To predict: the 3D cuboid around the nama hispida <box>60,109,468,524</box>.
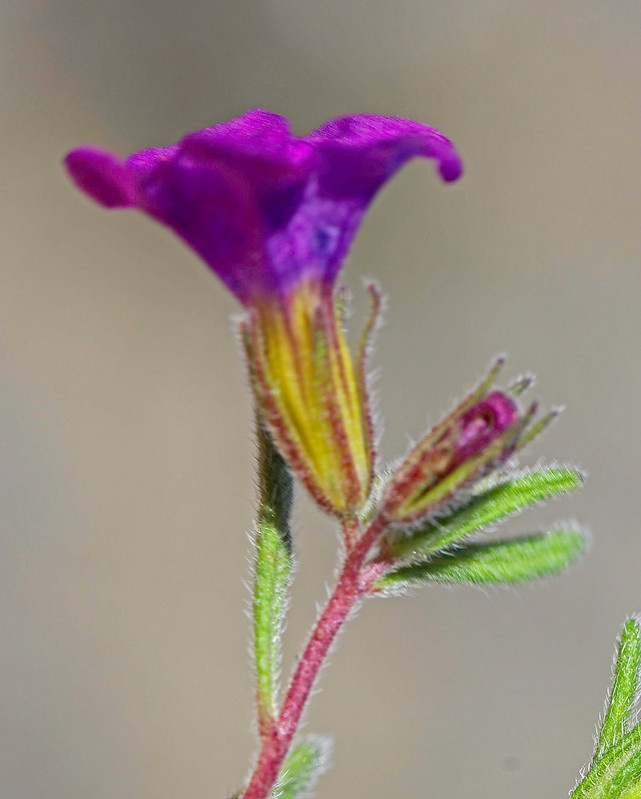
[{"bbox_3d":[-0.026,-0.076,1.073,0.391,0.364,0.380,-12,-94,21],"label":"nama hispida"}]
